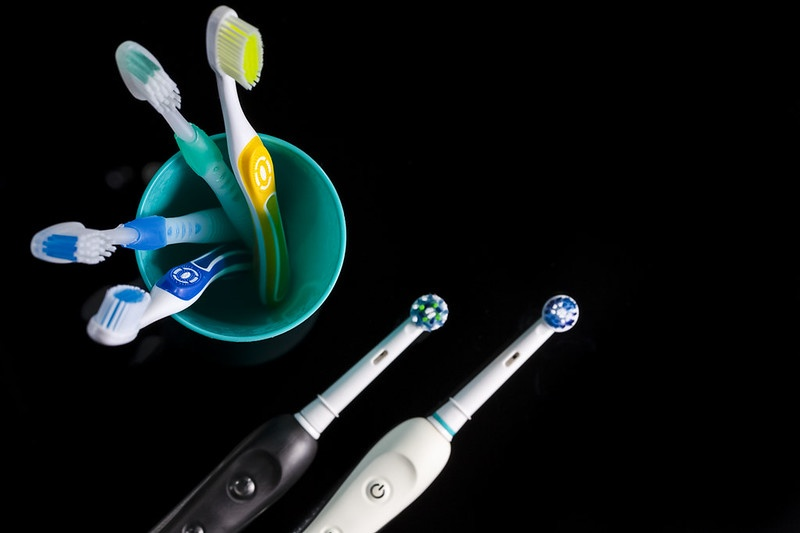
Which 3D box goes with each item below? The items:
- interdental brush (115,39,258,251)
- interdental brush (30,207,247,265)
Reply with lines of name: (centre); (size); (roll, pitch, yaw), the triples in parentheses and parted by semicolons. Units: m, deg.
interdental brush: (-0.414, -0.219, 1.562); (0.080, 0.527, 0.080); (-25, 32, 3)
interdental brush: (-0.478, -0.053, 1.523); (0.327, 0.046, 0.065); (-15, 68, -54)
